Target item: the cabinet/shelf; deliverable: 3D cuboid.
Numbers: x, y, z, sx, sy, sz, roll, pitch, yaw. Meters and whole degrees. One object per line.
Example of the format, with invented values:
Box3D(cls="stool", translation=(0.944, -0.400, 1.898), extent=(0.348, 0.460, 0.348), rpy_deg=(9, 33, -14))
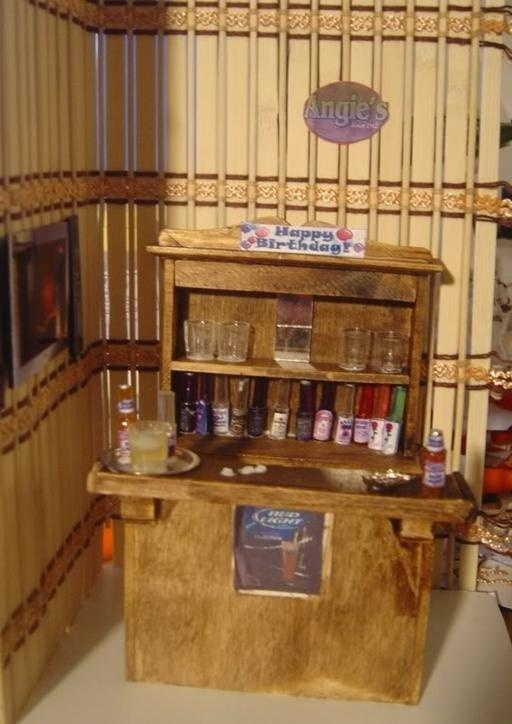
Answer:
Box3D(cls="cabinet/shelf", translation=(0.068, 0.324, 1.955), extent=(0.943, 1.355, 0.687), rpy_deg=(4, 9, 3))
